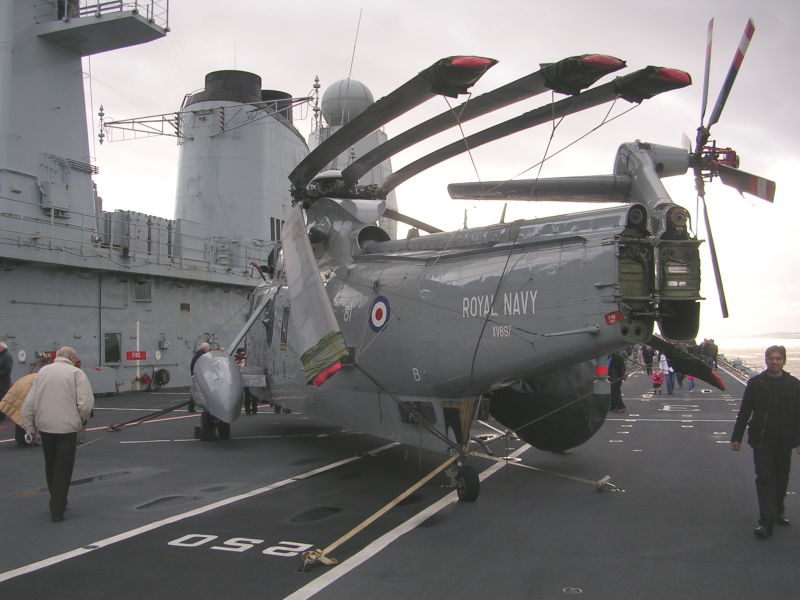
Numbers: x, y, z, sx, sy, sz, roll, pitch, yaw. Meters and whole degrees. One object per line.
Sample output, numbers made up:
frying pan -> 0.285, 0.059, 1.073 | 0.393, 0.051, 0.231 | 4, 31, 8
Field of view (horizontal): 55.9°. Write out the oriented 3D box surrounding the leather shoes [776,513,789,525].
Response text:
leather shoes -> 4.792, 2.748, 9.475 | 0.089, 0.098, 0.237 | -1, 4, 12

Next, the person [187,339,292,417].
person -> -3.065, 1.502, 13.090 | 1.073, 0.577, 1.628 | -13, 16, -23

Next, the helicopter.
helicopter -> 0.185, -0.136, 11.442 | 6.131, 3.065, 7.261 | 7, -3, -30

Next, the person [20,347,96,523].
person -> -4.398, 1.723, 9.850 | 0.685, 2.125, 0.671 | 6, 11, 36
